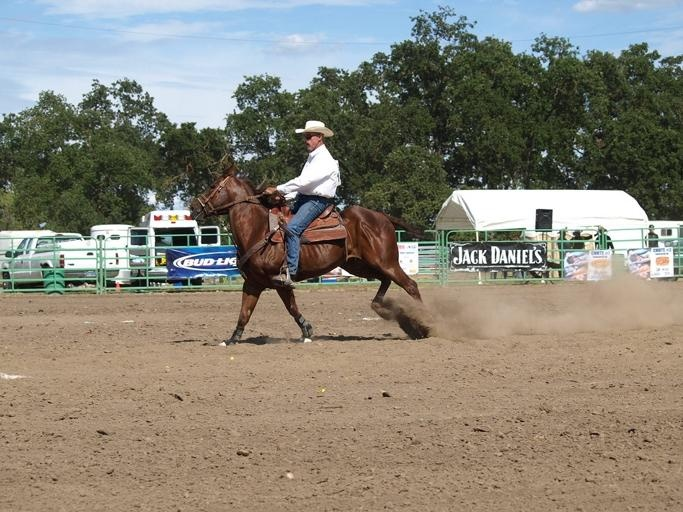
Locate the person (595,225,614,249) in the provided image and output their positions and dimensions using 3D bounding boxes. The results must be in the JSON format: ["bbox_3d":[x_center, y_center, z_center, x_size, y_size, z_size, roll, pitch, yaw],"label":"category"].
[{"bbox_3d":[8.374,-0.586,29.934,0.490,0.879,1.817,2,10,15],"label":"person"}]

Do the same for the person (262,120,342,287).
[{"bbox_3d":[-0.586,-0.796,14.441,0.667,2.562,1.248,9,15,43],"label":"person"}]

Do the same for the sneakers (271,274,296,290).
[{"bbox_3d":[-0.865,0.384,14.266,0.421,0.164,0.156,12,-16,-23],"label":"sneakers"}]
